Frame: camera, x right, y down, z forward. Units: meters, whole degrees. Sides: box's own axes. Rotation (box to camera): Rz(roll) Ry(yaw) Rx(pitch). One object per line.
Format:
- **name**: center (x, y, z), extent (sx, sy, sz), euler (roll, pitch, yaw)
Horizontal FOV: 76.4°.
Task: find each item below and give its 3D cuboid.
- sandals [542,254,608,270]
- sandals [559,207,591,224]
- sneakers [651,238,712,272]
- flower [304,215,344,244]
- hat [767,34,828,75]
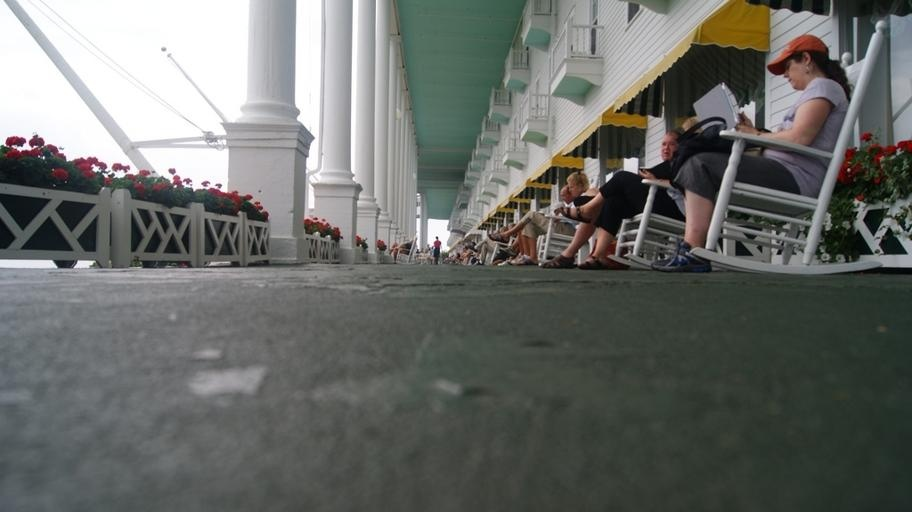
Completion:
- **sandals**: center (0.892, 0.062, 4.487), extent (0.399, 0.099, 0.159), euler (3, -5, 9)
- **sandals**: center (0.958, -0.380, 4.890), extent (0.299, 0.103, 0.109), euler (20, -4, 32)
- **sneakers**: center (1.162, 0.011, 3.128), extent (0.354, 0.173, 0.131), euler (-1, -1, 9)
- **flower**: center (-1.889, -0.388, 8.224), extent (0.430, 0.243, 0.439), euler (0, -2, 29)
- **hat**: center (1.887, -1.178, 3.338), extent (0.379, 0.204, 0.246), euler (-1, 6, 27)
